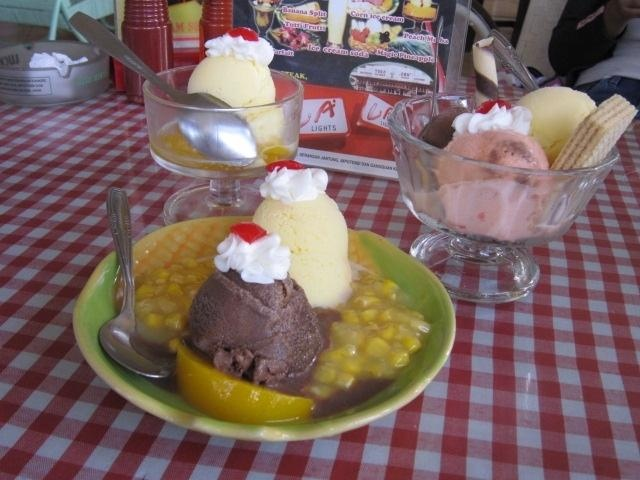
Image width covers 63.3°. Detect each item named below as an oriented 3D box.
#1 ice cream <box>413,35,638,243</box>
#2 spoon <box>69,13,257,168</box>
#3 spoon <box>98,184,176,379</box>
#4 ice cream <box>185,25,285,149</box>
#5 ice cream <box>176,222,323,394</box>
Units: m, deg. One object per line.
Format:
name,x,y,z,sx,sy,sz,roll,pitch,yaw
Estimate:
ice cream,0.396,-0.212,1.085,0.374,0.271,0.358,11,32,4
spoon,-0.362,-0.364,1.252,0.512,0.252,0.137,31,48,33
spoon,-0.352,0.072,0.931,0.101,0.064,0.420,1,56,-37
ice cream,-0.218,-0.390,1.329,0.237,0.281,0.215,16,44,-7
ice cream,-0.143,0.102,0.914,0.273,0.237,0.287,14,1,18
